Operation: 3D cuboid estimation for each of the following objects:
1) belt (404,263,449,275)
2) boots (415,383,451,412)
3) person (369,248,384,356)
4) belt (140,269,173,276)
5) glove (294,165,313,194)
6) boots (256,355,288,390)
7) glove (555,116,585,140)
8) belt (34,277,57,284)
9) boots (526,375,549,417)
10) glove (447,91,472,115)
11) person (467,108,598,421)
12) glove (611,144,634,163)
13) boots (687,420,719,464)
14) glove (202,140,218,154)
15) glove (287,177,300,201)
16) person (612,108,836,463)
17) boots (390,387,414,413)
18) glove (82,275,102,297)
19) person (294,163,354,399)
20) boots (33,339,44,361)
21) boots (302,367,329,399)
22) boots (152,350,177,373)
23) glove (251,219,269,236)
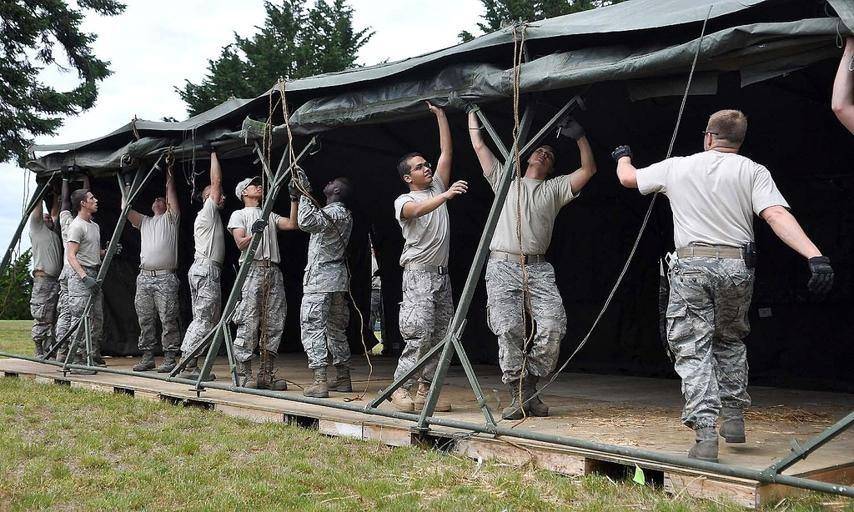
[{"bbox_3d":[-0.026,0.130,10.929,0.454,0.161,0.182,-2,14,-3],"label":"belt"},{"bbox_3d":[0.043,1.530,10.784,0.406,0.262,0.388,-1,13,6],"label":"boots"},{"bbox_3d":[-0.840,0.675,16.123,0.212,1.849,0.491,-6,16,-10],"label":"person"},{"bbox_3d":[-3.486,0.201,12.898,0.417,0.081,0.144,-4,13,-11],"label":"belt"},{"bbox_3d":[-1.433,-0.875,11.424,0.165,0.333,0.154,2,11,39],"label":"glove"},{"bbox_3d":[-1.820,1.382,11.938,0.506,0.388,0.268,1,-1,42],"label":"boots"},{"bbox_3d":[1.487,-1.325,10.294,0.237,0.257,0.343,9,18,39],"label":"glove"},{"bbox_3d":[-5.376,0.308,14.070,0.315,0.119,0.103,-4,14,-12],"label":"belt"},{"bbox_3d":[1.169,1.474,10.604,0.196,0.345,0.430,-10,15,-25],"label":"boots"},{"bbox_3d":[0.321,-1.614,10.415,0.186,0.227,0.186,-9,15,-22],"label":"glove"},{"bbox_3d":[1.086,0.134,10.498,1.253,3.333,1.230,0,16,12],"label":"person"},{"bbox_3d":[1.899,-1.008,9.806,0.284,0.107,0.227,-2,45,8],"label":"glove"},{"bbox_3d":[2.519,1.710,9.163,0.259,0.322,0.217,1,15,12],"label":"boots"},{"bbox_3d":[-2.668,-1.349,12.225,0.173,0.170,0.210,-5,14,-9],"label":"glove"},{"bbox_3d":[-1.511,-0.765,11.516,0.163,0.222,0.116,10,21,40],"label":"glove"},{"bbox_3d":[2.760,0.285,9.427,1.215,3.256,1.401,-9,16,-20],"label":"person"},{"bbox_3d":[-0.264,1.541,10.876,0.193,0.213,0.273,-6,14,-14],"label":"boots"},{"bbox_3d":[-4.265,0.358,12.816,0.227,0.263,0.107,-36,9,33],"label":"glove"},{"bbox_3d":[-1.178,0.298,11.553,0.698,2.655,1.219,-4,15,-3],"label":"person"},{"bbox_3d":[-5.420,1.272,13.954,0.111,0.215,0.226,-9,15,-21],"label":"boots"},{"bbox_3d":[-1.270,1.430,11.310,0.282,0.345,0.474,-5,13,-9],"label":"boots"},{"bbox_3d":[-3.369,1.329,12.888,0.267,0.310,0.342,-6,14,-14],"label":"boots"},{"bbox_3d":[-1.928,-0.345,11.461,0.168,0.172,0.110,-6,15,-14],"label":"glove"}]
